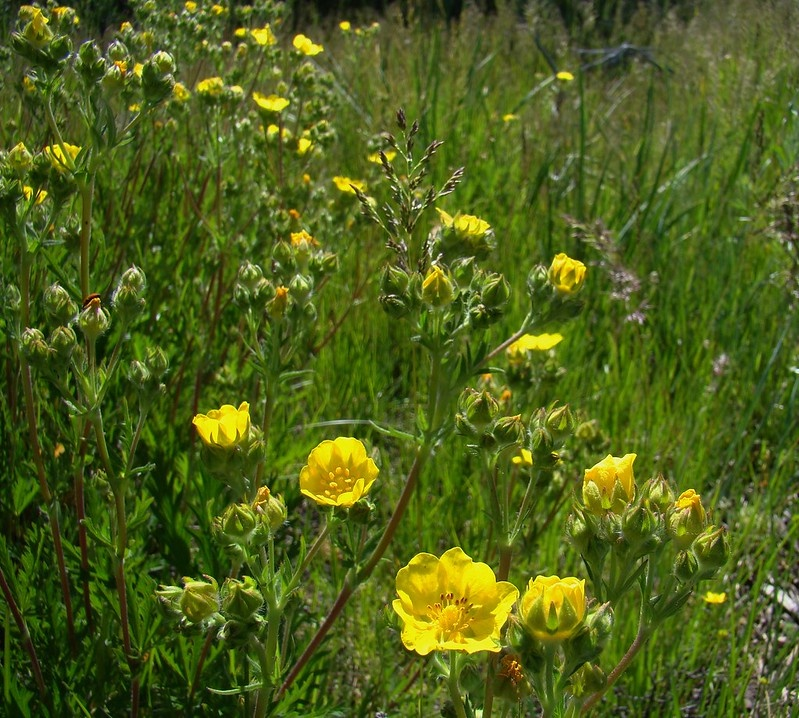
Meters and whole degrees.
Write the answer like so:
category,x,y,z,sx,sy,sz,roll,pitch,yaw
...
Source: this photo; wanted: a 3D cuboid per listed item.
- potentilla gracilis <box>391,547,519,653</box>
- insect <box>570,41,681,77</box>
category,x,y,z,sx,sy,sz,roll,pitch,yaw
potentilla gracilis,0.107,0.578,2.484,0.307,0.296,0.134,34,38,-43
insect,0.732,-0.999,3.432,0.096,0.107,0.560,-44,22,-1
